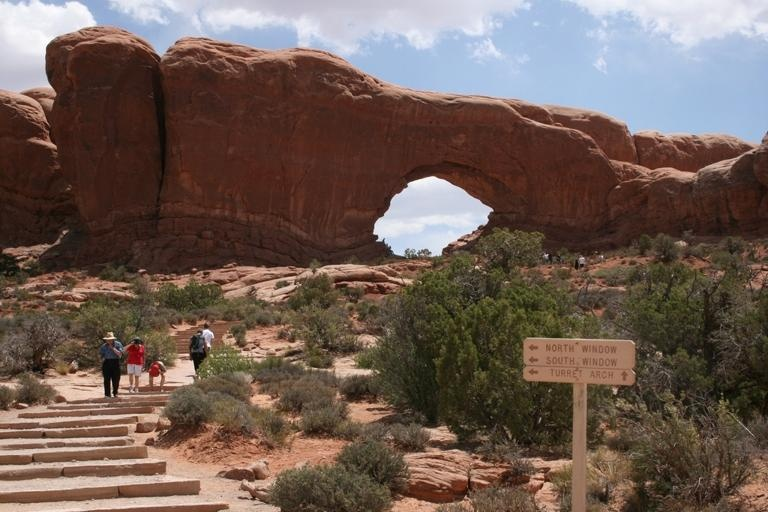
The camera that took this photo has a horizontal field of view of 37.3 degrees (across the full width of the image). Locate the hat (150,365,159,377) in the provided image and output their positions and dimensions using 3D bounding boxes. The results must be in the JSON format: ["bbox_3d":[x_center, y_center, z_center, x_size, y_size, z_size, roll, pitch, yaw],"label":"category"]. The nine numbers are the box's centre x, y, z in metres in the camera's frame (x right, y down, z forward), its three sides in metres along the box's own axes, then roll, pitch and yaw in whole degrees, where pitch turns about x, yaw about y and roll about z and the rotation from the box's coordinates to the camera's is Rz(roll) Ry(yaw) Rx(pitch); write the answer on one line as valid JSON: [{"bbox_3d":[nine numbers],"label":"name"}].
[{"bbox_3d":[-11.306,5.820,56.191,0.368,0.590,0.523,1,-5,-2],"label":"hat"}]

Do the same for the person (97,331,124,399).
[{"bbox_3d":[-13.331,5.450,55.585,0.977,3.224,1.095,2,-6,-6],"label":"person"}]

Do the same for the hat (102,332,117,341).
[{"bbox_3d":[-13.371,3.969,55.682,0.609,0.220,0.690,-2,-16,6],"label":"hat"}]
